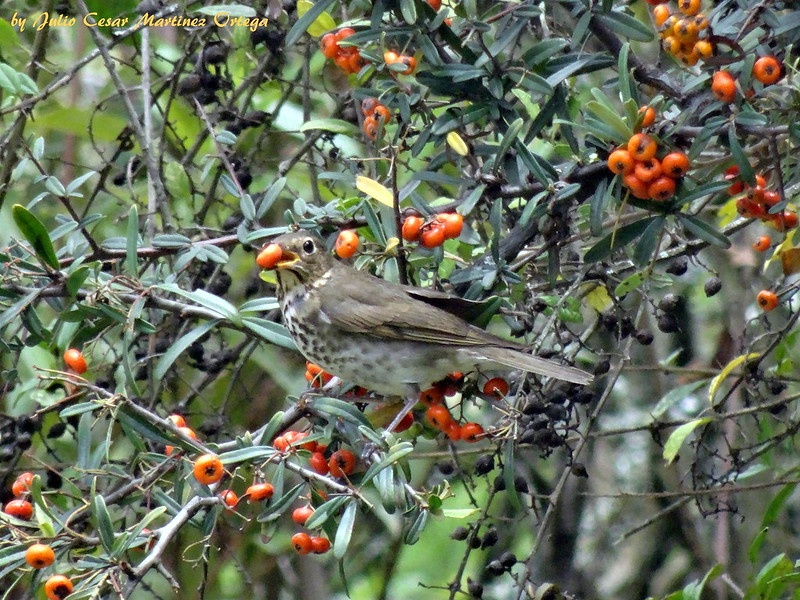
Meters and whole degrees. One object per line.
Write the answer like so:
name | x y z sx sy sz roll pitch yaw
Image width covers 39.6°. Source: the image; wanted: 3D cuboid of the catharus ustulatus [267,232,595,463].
catharus ustulatus | -0.028 0.146 4.968 1.335 0.661 0.542 30 34 14
